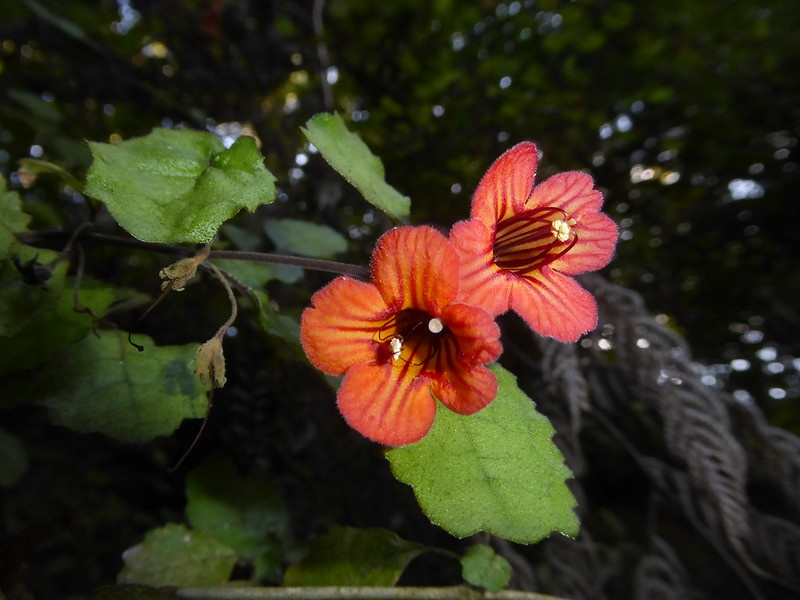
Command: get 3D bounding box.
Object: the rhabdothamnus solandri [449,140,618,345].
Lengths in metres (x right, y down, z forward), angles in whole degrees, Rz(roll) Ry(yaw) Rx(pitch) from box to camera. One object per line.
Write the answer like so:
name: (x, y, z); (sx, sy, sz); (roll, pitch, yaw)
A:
rhabdothamnus solandri: (0.388, -0.188, 2.679); (0.627, 0.669, 0.444); (-9, 6, -19)

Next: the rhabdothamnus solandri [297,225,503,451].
rhabdothamnus solandri: (0.035, 0.118, 2.441); (0.708, 0.307, 0.749); (6, 58, -7)
